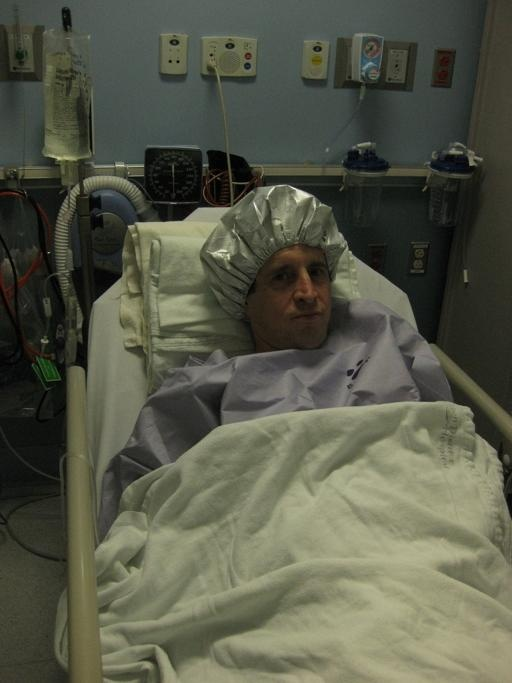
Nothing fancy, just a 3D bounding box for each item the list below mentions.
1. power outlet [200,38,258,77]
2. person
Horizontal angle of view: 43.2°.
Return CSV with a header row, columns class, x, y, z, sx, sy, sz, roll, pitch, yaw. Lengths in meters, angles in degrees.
class,x,y,z,sx,sy,sz,roll,pitch,yaw
power outlet,-0.097,-0.925,2.094,0.131,0.092,0.015,-3,31,-9
person,0.033,-0.013,1.786,0.821,0.305,0.827,-12,35,-2
